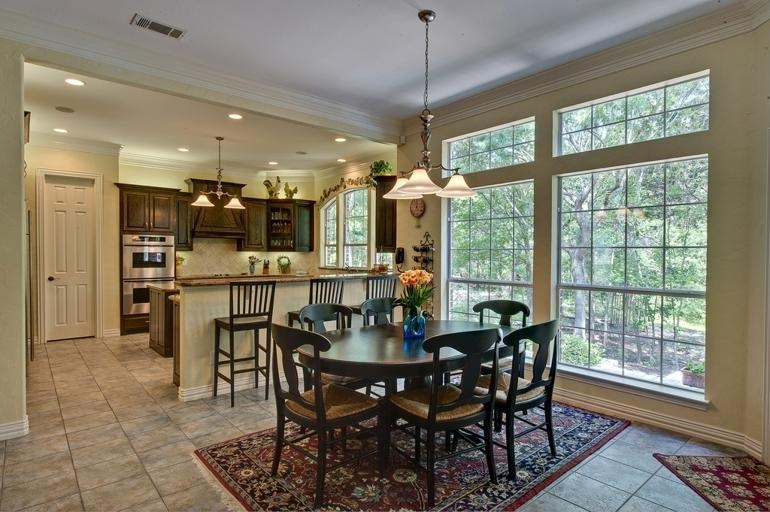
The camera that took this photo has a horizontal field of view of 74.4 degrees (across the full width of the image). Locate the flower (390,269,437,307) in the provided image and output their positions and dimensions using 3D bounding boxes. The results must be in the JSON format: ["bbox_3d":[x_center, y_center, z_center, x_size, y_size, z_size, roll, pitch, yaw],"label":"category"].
[{"bbox_3d":[0.297,0.333,5.169,0.304,0.379,0.318,-1,1,-6],"label":"flower"}]

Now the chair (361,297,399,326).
[{"bbox_3d":[-0.095,0.629,5.951,0.427,0.461,0.362,-1,3,-27],"label":"chair"}]

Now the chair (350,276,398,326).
[{"bbox_3d":[-0.018,0.548,6.900,0.576,0.846,0.606,0,2,-31],"label":"chair"}]

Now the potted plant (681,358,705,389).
[{"bbox_3d":[3.244,1.221,5.382,0.262,0.281,0.319,-1,-1,41],"label":"potted plant"}]

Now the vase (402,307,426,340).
[{"bbox_3d":[0.294,0.671,5.100,0.251,0.334,0.221,14,-28,-36],"label":"vase"}]

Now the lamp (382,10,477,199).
[{"bbox_3d":[0.439,-1.609,5.409,1.174,1.758,1.045,-7,13,-35],"label":"lamp"}]

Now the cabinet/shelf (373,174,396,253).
[{"bbox_3d":[0.058,-0.542,8.469,0.478,0.913,0.269,2,2,35],"label":"cabinet/shelf"}]

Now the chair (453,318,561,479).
[{"bbox_3d":[1.176,1.324,5.044,0.996,1.340,0.952,1,0,-28],"label":"chair"}]

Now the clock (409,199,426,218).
[{"bbox_3d":[0.481,-0.701,7.462,0.069,0.276,0.287,-2,2,-35],"label":"clock"}]

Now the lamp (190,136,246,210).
[{"bbox_3d":[-3.092,-1.623,9.486,0.871,1.087,0.801,0,24,-18],"label":"lamp"}]

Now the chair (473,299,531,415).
[{"bbox_3d":[1.229,0.910,5.524,0.600,0.779,0.570,6,6,23],"label":"chair"}]
